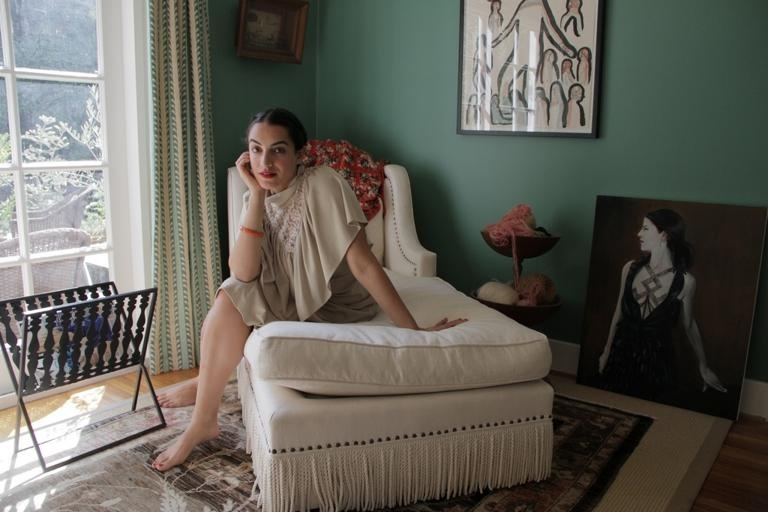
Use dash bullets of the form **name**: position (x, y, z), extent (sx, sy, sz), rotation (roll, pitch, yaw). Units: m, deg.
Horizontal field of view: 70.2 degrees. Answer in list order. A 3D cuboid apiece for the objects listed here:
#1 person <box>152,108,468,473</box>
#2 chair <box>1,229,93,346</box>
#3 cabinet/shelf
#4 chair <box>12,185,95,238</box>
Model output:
- **person**: position (-0.461, 0.022, 2.612), extent (1.552, 1.253, 1.014), rotation (-14, 13, -11)
- **chair**: position (-1.888, 0.119, 3.257), extent (0.533, 0.715, 0.479), rotation (-11, 16, -41)
- **cabinet/shelf**: position (0.664, 0.117, 3.173), extent (0.514, 0.630, 0.506), rotation (-1, 9, 1)
- **chair**: position (-1.862, -0.245, 3.062), extent (0.303, 0.415, 0.235), rotation (-1, 8, -23)
